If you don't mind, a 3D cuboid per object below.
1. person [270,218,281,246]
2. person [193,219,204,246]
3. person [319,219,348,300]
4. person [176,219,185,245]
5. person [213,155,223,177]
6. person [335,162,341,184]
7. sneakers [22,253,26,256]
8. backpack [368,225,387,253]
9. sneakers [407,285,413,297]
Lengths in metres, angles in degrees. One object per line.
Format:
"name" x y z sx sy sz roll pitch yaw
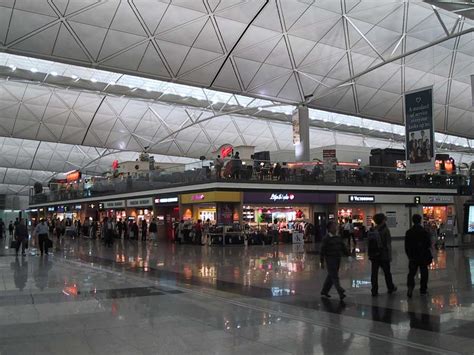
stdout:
"person" 2.918 4.123 29.939 0.769 1.848 0.408 4 -7 -37
"person" -2.906 4.142 29.910 0.523 1.877 1.108 2 -6 -26
"person" 2.660 2.281 10.873 0.744 2.109 1.257 -2 -6 12
"person" -4.505 4.324 31.426 0.499 1.864 1.006 1 -6 -16
"person" -1.309 -0.688 28.051 0.597 1.439 0.383 0 -6 -4
"person" 8.444 -0.420 32.710 0.279 1.768 0.768 -5 -7 40
"sneakers" -12.091 4.354 22.203 0.226 0.123 0.202 8 -12 -14
"backpack" 3.999 1.796 11.288 0.444 0.763 0.356 3 -7 -35
"sneakers" 4.718 3.151 10.735 0.143 0.271 0.236 -4 -6 32
